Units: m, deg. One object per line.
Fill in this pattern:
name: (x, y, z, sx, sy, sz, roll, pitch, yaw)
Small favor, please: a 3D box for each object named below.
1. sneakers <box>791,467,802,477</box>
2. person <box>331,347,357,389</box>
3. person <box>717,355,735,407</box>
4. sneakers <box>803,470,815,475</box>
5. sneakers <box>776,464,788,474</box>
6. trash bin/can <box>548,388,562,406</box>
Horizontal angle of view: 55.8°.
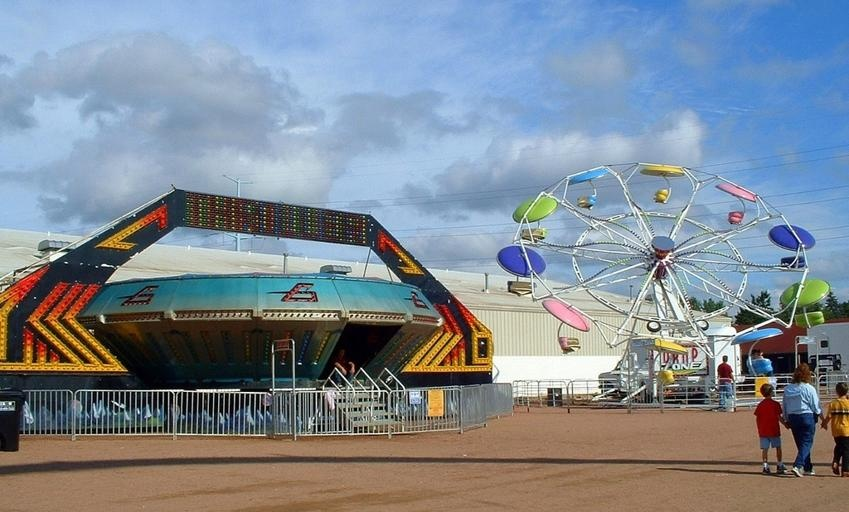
sneakers: (9.424, 5.427, 20.261, 0.366, 0.147, 0.133, 37, -7, -33)
person: (-3.466, 4.716, 34.288, 1.079, 1.462, 1.112, 17, 11, 38)
person: (14.708, 6.132, 39.137, 0.757, 2.625, 1.090, -6, -15, 17)
sneakers: (9.829, 5.500, 20.440, 0.325, 0.110, 0.110, 1, -3, 8)
sneakers: (9.267, 5.463, 20.698, 0.142, 0.186, 0.388, 0, -1, 28)
trash bin/can: (7.246, 7.772, 44.504, 0.728, 0.974, 1.317, -3, -13, 8)
